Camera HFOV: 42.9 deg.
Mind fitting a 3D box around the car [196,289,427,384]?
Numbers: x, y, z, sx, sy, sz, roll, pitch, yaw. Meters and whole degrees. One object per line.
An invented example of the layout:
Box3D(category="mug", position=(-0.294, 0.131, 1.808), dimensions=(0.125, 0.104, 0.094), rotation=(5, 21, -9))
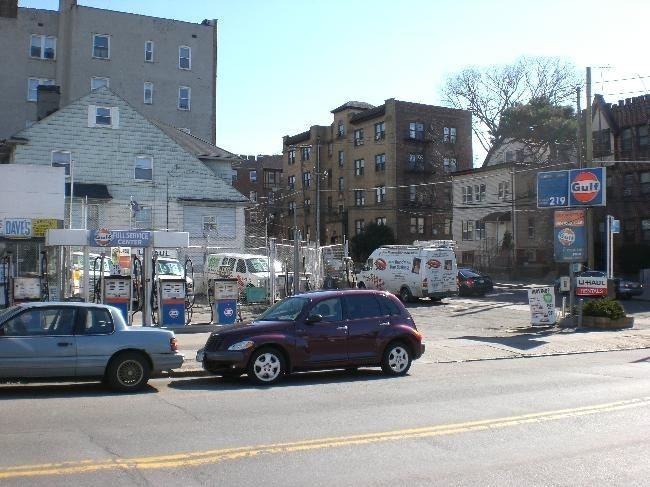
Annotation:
Box3D(category="car", position=(-0.402, 2.227, 19.834), dimensions=(4.532, 1.781, 2.239), rotation=(2, -5, -22))

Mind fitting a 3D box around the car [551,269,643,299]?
Box3D(category="car", position=(11.786, 1.786, 36.411), dimensions=(3.162, 1.103, 1.484), rotation=(2, -1, 25))
